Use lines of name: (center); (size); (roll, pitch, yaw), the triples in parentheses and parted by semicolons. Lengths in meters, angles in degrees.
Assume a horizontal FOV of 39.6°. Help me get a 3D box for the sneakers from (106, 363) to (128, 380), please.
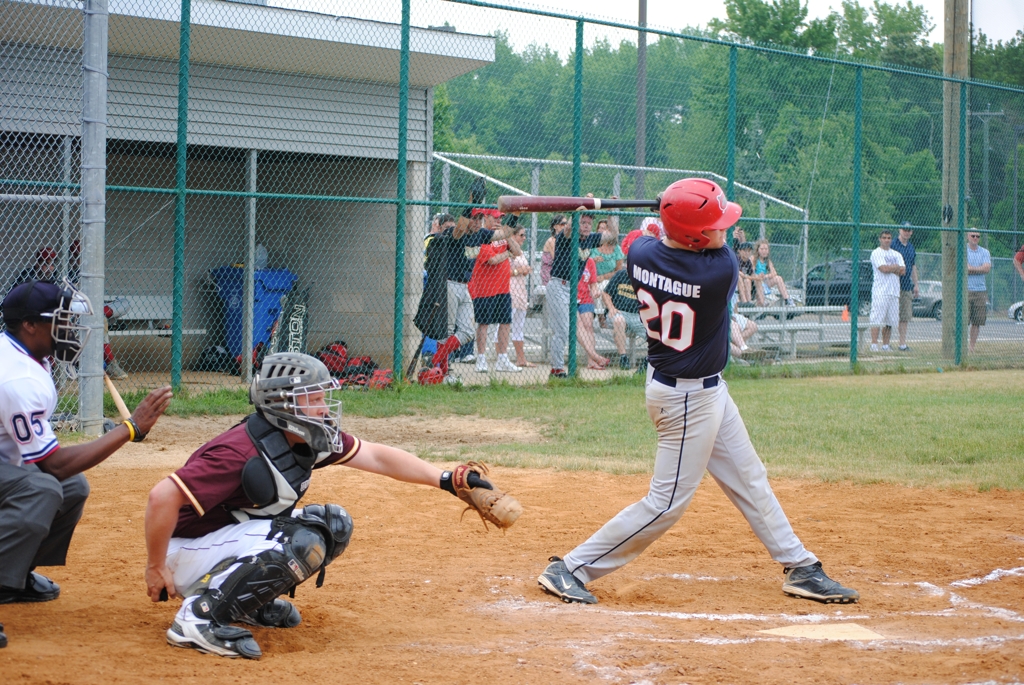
sneakers: (-5.290, 0.360, 17.849); (0.246, 0.210, 0.110); (4, 34, -13)

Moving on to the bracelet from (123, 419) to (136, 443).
bracelet: (-3.115, 0.654, 10.852); (0.095, 0.151, 0.133); (1, 3, -23)

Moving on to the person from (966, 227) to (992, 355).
person: (7.486, -0.837, 22.814); (0.366, 1.844, 0.813); (3, 3, 18)

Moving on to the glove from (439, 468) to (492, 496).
glove: (-0.470, 1.069, 11.064); (0.367, 0.135, 0.195); (-1, 17, -7)

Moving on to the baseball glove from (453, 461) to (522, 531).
baseball glove: (-0.318, 1.219, 11.161); (0.401, 0.623, 0.280); (-42, -9, -30)
